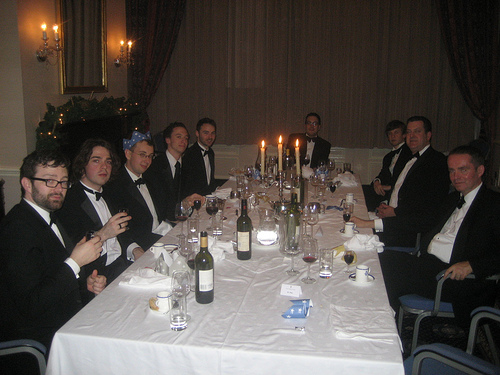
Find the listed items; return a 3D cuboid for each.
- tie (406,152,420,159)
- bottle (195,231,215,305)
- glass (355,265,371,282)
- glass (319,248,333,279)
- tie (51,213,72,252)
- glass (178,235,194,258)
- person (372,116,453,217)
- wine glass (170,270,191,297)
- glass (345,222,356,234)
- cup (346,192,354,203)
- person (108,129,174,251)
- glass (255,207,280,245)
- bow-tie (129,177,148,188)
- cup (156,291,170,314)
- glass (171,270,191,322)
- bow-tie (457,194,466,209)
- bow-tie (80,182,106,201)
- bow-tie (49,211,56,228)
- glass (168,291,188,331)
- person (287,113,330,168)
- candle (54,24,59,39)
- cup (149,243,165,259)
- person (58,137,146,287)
[{"bbox_3d":[1.974,-0.386,4.737,0.159,0.085,0.199,-1,0,20],"label":"tie"},{"bbox_3d":[-0.251,0.437,2.114,0.102,0.427,0.090,-2,10,-4],"label":"bottle"},{"bbox_3d":[0.691,0.537,2.422,0.082,0.088,0.071,2,2,4],"label":"glass"},{"bbox_3d":[0.478,0.479,2.536,0.099,0.201,0.151,1,11,5],"label":"glass"},{"bbox_3d":[-1.255,0.311,2.614,0.029,0.273,0.035,-26,21,-11],"label":"tie"},{"bbox_3d":[-0.424,0.405,2.655,0.140,0.166,0.094,2,-8,-3],"label":"glass"},{"bbox_3d":[1.790,-0.184,4.324,0.709,1.021,0.844,-13,6,-31],"label":"person"},{"bbox_3d":[-0.372,0.520,2.112,0.079,0.143,0.162,-1,10,1],"label":"wine glass"},{"bbox_3d":[0.799,0.329,3.161,0.089,0.085,0.056,5,-4,-40],"label":"glass"},{"bbox_3d":[1.035,0.092,4.045,0.100,0.120,0.103,0,6,0],"label":"cup"},{"bbox_3d":[-0.996,0.024,3.759,0.705,1.186,0.783,-2,13,-20],"label":"person"},{"bbox_3d":[0.126,0.296,3.029,0.229,0.270,0.169,1,2,-1],"label":"glass"},{"bbox_3d":[-1.062,-0.046,3.745,0.093,0.027,0.092,-34,9,17],"label":"bow-tie"},{"bbox_3d":[-0.446,0.612,2.088,0.062,0.081,0.105,4,12,13],"label":"cup"},{"bbox_3d":[-0.373,0.559,2.125,0.108,0.200,0.120,2,-7,8],"label":"glass"},{"bbox_3d":[1.767,0.126,3.299,0.043,0.123,0.053,0,10,8],"label":"bow-tie"},{"bbox_3d":[-1.257,0.047,3.189,0.121,0.075,0.114,28,26,12],"label":"bow-tie"},{"bbox_3d":[-1.234,0.194,2.484,0.063,0.069,0.020,-25,-32,38],"label":"bow-tie"},{"bbox_3d":[-0.364,0.622,1.984,0.085,0.181,0.165,1,10,7],"label":"glass"},{"bbox_3d":[0.968,-0.538,6.539,0.560,1.345,0.646,6,6,13],"label":"person"},{"bbox_3d":[-2.591,-2.091,5.266,0.043,0.169,0.158,-7,12,-28],"label":"candle"},{"bbox_3d":[-0.597,0.428,2.613,0.126,0.103,0.084,-6,16,-26],"label":"cup"},{"bbox_3d":[-1.116,0.189,3.148,0.754,1.192,0.635,5,11,21],"label":"person"}]
